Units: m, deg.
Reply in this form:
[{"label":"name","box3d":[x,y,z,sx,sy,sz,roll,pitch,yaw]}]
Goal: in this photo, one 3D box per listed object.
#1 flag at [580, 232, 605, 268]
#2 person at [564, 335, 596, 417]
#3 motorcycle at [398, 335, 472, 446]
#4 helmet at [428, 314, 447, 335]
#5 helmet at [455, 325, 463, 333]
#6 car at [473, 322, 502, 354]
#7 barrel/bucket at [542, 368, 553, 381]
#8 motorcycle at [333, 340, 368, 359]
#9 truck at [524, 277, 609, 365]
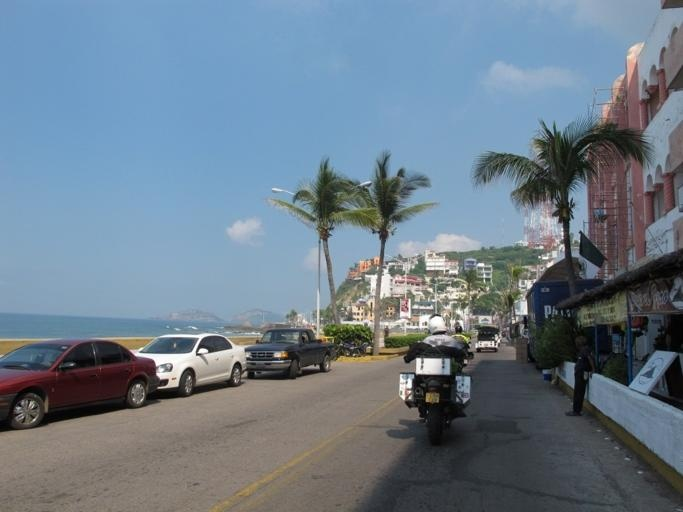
[{"label":"flag","box3d":[13.850,-0.339,30.575,1.074,1.926,5.451,-6,-13,24]},{"label":"person","box3d":[6.191,3.188,14.346,0.509,2.025,1.158,14,-25,8]},{"label":"motorcycle","box3d":[1.834,2.508,10.468,1.185,2.021,0.893,2,-10,-19]},{"label":"helmet","box3d":[1.906,1.379,10.938,0.283,0.387,0.410,-1,6,7]},{"label":"helmet","box3d":[2.883,1.825,13.479,0.196,0.191,0.208,0,-9,-7]},{"label":"car","box3d":[13.087,7.406,49.283,1.872,2.572,4.303,-4,-12,12]},{"label":"barrel/bucket","box3d":[7.370,4.277,19.726,0.327,0.392,0.354,-1,-2,0]},{"label":"motorcycle","box3d":[0.634,5.769,33.615,1.712,1.142,1.135,0,-14,3]},{"label":"truck","box3d":[9.365,2.407,25.193,2.332,3.781,7.275,0,-9,5]}]
